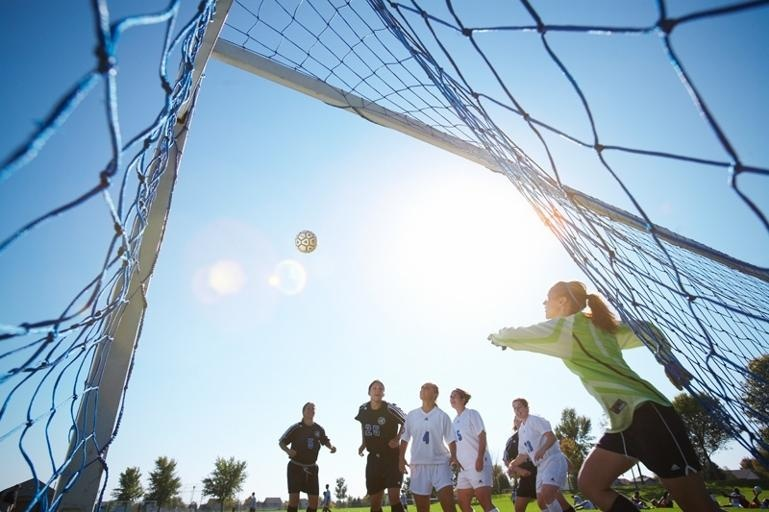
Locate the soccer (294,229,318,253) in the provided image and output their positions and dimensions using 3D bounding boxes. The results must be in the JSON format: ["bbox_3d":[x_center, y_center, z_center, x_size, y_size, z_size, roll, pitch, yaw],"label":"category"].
[{"bbox_3d":[-1.705,-0.277,8.532,0.401,0.537,0.321,-5,-38,-3],"label":"soccer"}]
